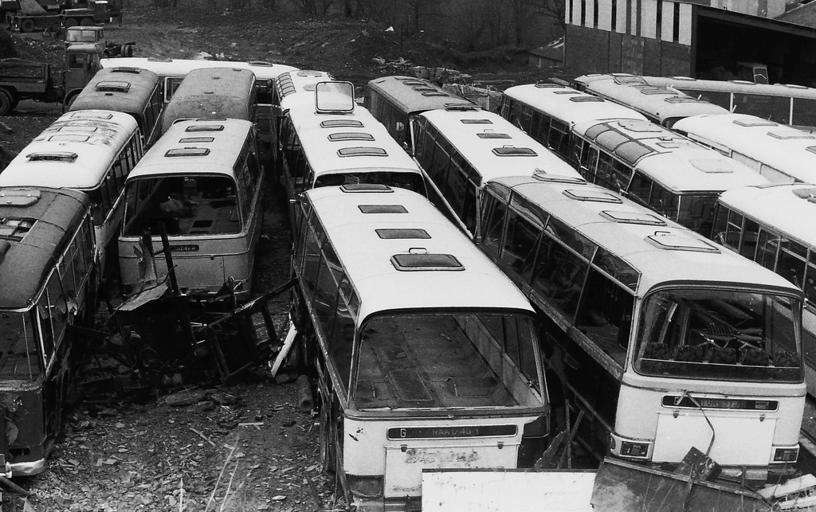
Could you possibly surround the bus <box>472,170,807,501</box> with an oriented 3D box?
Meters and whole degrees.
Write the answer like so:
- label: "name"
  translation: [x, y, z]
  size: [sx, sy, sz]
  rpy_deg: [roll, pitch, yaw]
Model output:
- label: "bus"
  translation: [4.169, 0.858, 16.172]
  size: [3.718, 3.720, 8.310]
  rpy_deg: [3, 17, -9]
